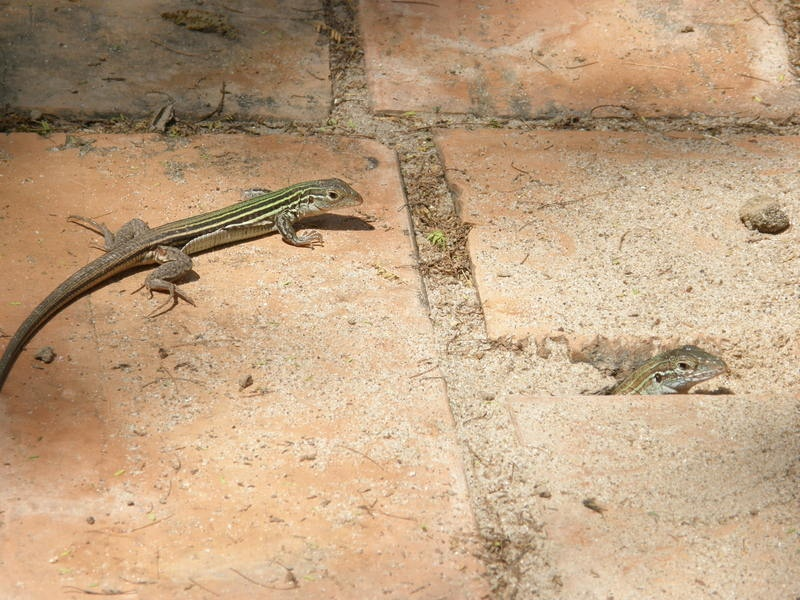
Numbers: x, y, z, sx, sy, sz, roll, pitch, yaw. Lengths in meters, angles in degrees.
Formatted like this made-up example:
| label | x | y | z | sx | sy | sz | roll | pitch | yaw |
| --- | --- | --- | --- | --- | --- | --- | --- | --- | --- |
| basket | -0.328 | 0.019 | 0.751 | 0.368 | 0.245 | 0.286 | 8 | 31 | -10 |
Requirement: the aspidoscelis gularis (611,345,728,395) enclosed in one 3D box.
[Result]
| label | x | y | z | sx | sy | sz | roll | pitch | yaw |
| --- | --- | --- | --- | --- | --- | --- | --- | --- | --- |
| aspidoscelis gularis | 1.244 | 0.330 | 3.815 | 0.513 | 0.110 | 0.253 | -4 | 34 | 10 |
